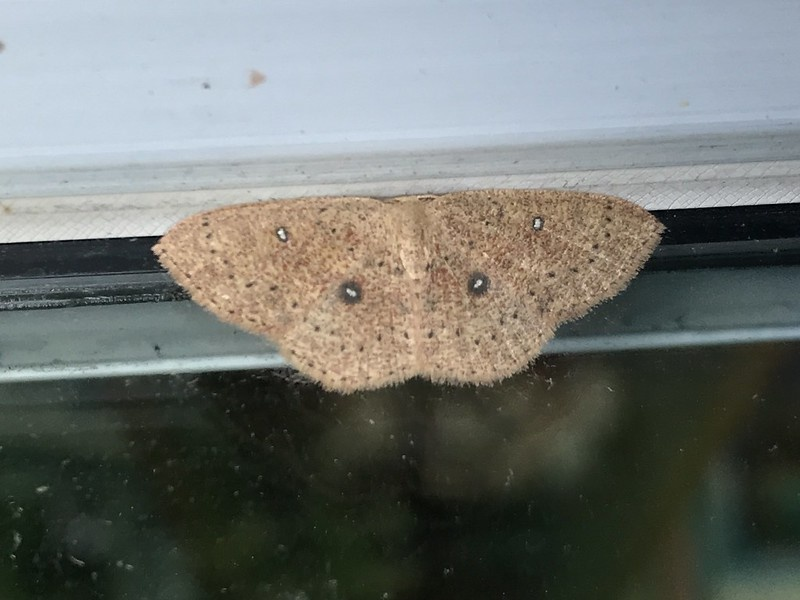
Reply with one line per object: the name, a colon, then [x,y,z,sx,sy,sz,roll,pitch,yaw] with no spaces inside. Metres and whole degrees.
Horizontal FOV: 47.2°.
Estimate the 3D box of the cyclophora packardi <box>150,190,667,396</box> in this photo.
cyclophora packardi: [0.051,-0.072,4.323,1.897,0.693,0.139,1,12,-2]
